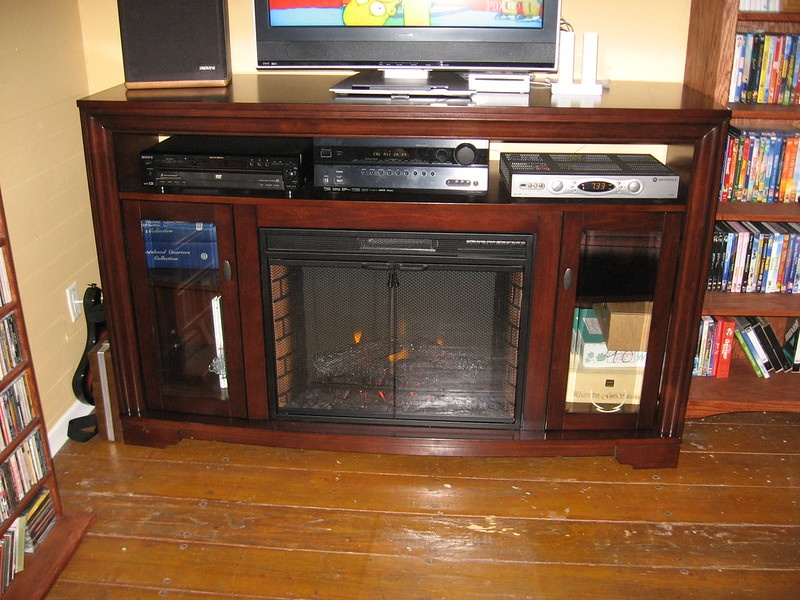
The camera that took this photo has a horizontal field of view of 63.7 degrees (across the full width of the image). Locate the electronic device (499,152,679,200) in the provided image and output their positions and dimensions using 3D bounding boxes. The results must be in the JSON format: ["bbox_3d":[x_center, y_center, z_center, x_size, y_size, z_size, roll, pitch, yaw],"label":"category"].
[{"bbox_3d":[0.666,-0.440,2.298,0.590,0.143,0.324,-1,17,0],"label":"electronic device"}]

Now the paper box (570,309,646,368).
[{"bbox_3d":[0.764,0.127,2.429,0.323,0.129,0.252,-1,22,-1],"label":"paper box"}]

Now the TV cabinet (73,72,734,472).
[{"bbox_3d":[0.018,-0.103,2.304,2.385,1.013,0.586,0,32,3],"label":"TV cabinet"}]

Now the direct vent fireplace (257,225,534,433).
[{"bbox_3d":[0.014,0.078,2.317,1.127,0.596,0.336,1,25,2],"label":"direct vent fireplace"}]

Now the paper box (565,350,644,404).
[{"bbox_3d":[0.758,0.313,2.401,0.302,0.116,0.233,1,16,6],"label":"paper box"}]

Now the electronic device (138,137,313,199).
[{"bbox_3d":[-0.616,-0.494,2.341,0.577,0.188,0.291,1,19,5],"label":"electronic device"}]
